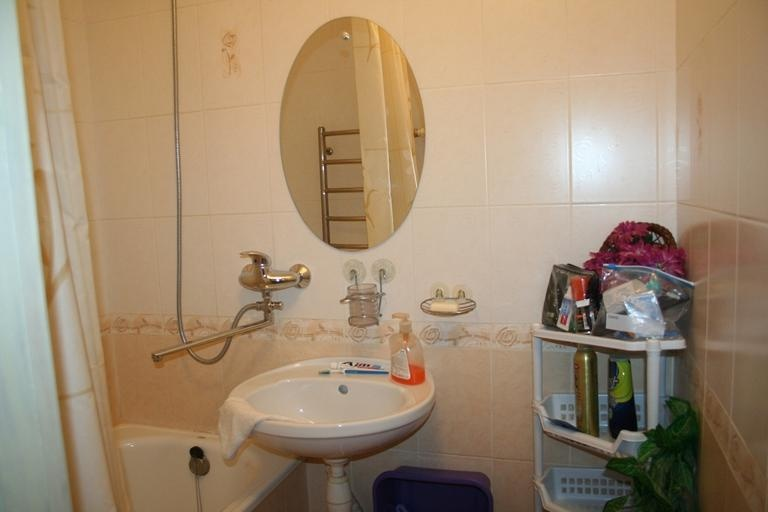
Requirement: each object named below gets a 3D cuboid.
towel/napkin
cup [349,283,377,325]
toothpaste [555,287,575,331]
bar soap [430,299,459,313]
[{"bbox_3d":[-0.465,0.579,2.113,0.234,0.102,0.243,1,-3,43],"label":"towel/napkin"},{"bbox_3d":[-0.088,0.209,2.454,0.149,0.158,0.128,0,-9,-18],"label":"cup"},{"bbox_3d":[0.634,0.188,2.095,0.040,0.156,0.070,-2,6,-4],"label":"toothpaste"},{"bbox_3d":[0.231,0.200,2.302,0.107,0.049,0.057,-1,6,4],"label":"bar soap"}]
